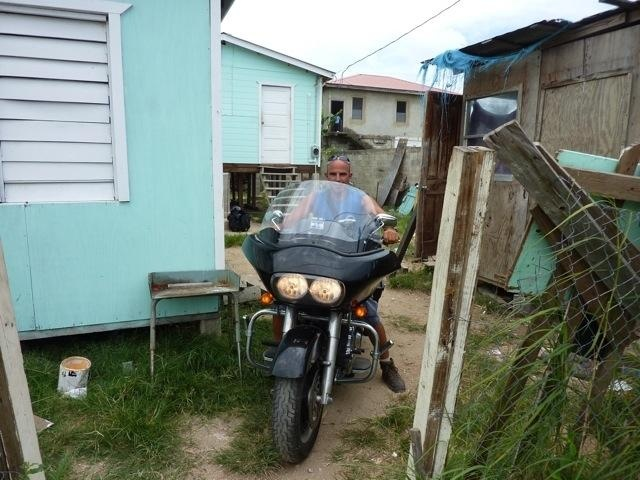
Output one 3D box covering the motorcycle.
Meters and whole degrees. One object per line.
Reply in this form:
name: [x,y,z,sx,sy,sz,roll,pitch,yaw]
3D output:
motorcycle: [-0.036,0.470,3.507,0.878,1.492,2.183,1,3,12]
